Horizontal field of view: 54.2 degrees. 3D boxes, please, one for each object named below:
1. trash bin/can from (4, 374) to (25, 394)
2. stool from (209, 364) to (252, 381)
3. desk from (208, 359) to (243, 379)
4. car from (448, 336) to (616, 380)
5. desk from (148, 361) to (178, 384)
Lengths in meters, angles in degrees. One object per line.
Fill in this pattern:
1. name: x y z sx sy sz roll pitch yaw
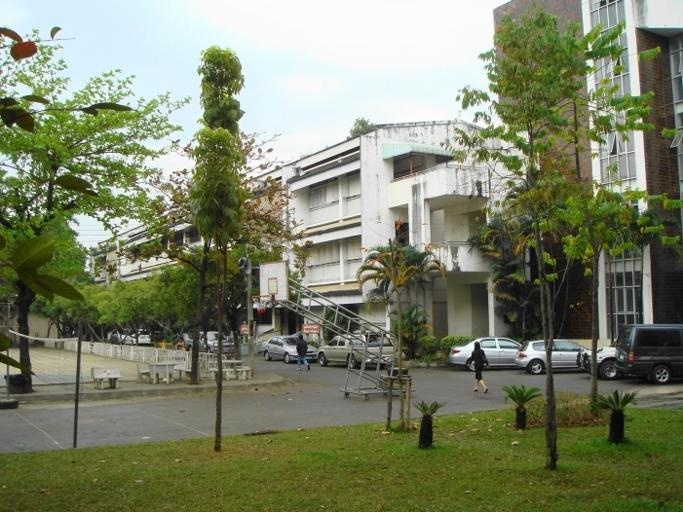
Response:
1. trash bin/can: -11.279 4.431 23.175 0.948 0.631 0.407 -10 -11 41
2. stool: -4.433 4.918 28.187 1.174 0.590 2.139 0 -10 -8
3. desk: -4.656 4.852 28.480 1.280 0.566 1.309 2 -3 -41
4. car: 8.819 4.572 30.526 2.705 2.030 8.593 4 -11 -32
5. desk: -7.412 4.770 27.379 0.938 0.855 2.952 1 -10 -16
